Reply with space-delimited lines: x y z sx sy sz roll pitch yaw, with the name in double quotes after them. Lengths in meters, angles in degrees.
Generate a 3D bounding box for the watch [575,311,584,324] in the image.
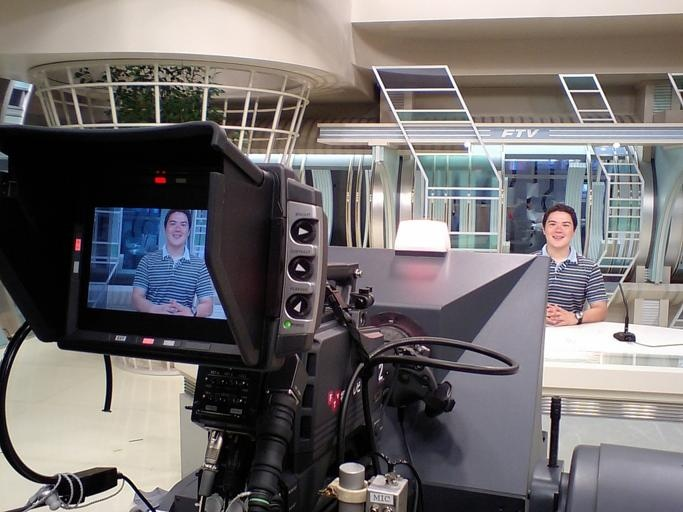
1.485 0.393 3.166 0.050 0.073 0.080 3 -5 8 "watch"

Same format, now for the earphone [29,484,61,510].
-0.567 0.472 0.985 0.055 0.049 0.027 13 -9 -7 "earphone"

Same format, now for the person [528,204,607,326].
1.414 0.092 3.338 0.689 0.785 0.486 3 6 13 "person"
